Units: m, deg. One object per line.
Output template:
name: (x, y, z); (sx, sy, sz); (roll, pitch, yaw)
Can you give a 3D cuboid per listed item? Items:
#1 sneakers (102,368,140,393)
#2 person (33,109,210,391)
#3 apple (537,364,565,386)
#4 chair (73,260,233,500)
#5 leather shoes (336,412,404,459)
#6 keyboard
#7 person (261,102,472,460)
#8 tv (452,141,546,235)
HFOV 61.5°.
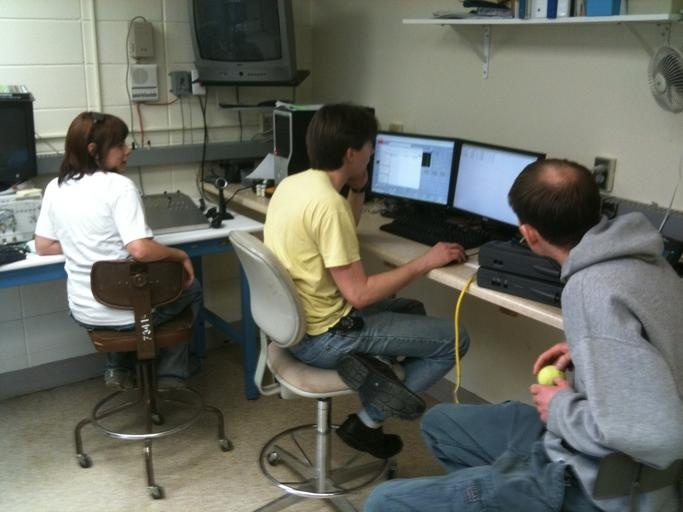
sneakers: (-1.122, 0.618, 2.896); (0.128, 0.108, 0.235); (3, 13, -11)
person: (-1.010, 0.078, 2.614); (0.706, 1.391, 0.425); (-7, 21, -16)
apple: (0.623, 0.358, 1.716); (0.066, 0.072, 0.068); (0, 1, -30)
chair: (-0.915, 0.493, 2.706); (0.644, 1.053, 0.707); (-11, 15, -41)
leather shoes: (0.088, 0.698, 2.326); (0.288, 0.212, 0.145); (4, 28, -14)
keyboard: (0.430, -0.119, 2.657); (0.295, 0.056, 0.183); (15, 32, 43)
person: (0.075, 0.140, 2.408); (0.750, 1.468, 0.593); (-11, 14, -32)
tv: (0.685, -0.335, 2.622); (0.412, 0.327, 0.043); (8, 4, -20)
